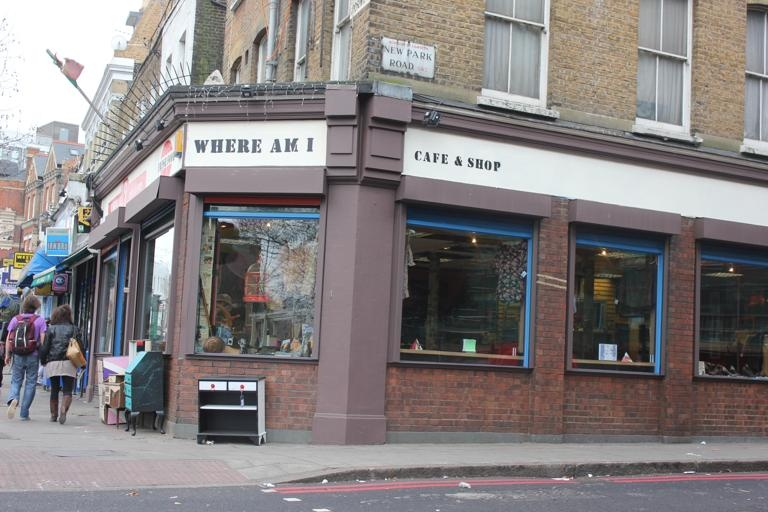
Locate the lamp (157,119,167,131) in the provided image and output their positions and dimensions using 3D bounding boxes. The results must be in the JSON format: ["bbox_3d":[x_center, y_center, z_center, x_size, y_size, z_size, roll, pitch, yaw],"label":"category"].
[{"bbox_3d":[-4.820,-2.855,20.655,0.199,0.243,0.343,0,24,-13],"label":"lamp"}]

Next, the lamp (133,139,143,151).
[{"bbox_3d":[-5.761,-2.611,22.387,0.326,0.289,0.167,1,-10,3],"label":"lamp"}]

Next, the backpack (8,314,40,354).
[{"bbox_3d":[-7.912,1.777,20.952,0.625,0.891,0.382,3,12,-11],"label":"backpack"}]

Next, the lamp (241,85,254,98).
[{"bbox_3d":[-2.768,-3.342,19.242,0.258,0.225,0.240,-2,13,-13],"label":"lamp"}]

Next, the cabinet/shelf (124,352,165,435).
[{"bbox_3d":[-4.974,2.907,19.801,0.896,1.487,0.871,0,-9,-19],"label":"cabinet/shelf"}]

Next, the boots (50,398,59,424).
[{"bbox_3d":[-7.210,3.422,20.869,0.158,0.525,0.283,1,12,-22],"label":"boots"}]

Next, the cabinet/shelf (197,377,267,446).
[{"bbox_3d":[-2.952,3.043,18.487,1.405,1.167,0.584,0,-7,4],"label":"cabinet/shelf"}]

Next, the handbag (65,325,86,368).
[{"bbox_3d":[-6.830,2.109,20.970,0.257,0.598,0.635,-5,-21,-14],"label":"handbag"}]

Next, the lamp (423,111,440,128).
[{"bbox_3d":[0.970,-2.736,19.284,0.361,0.318,0.307,18,-13,-37],"label":"lamp"}]
